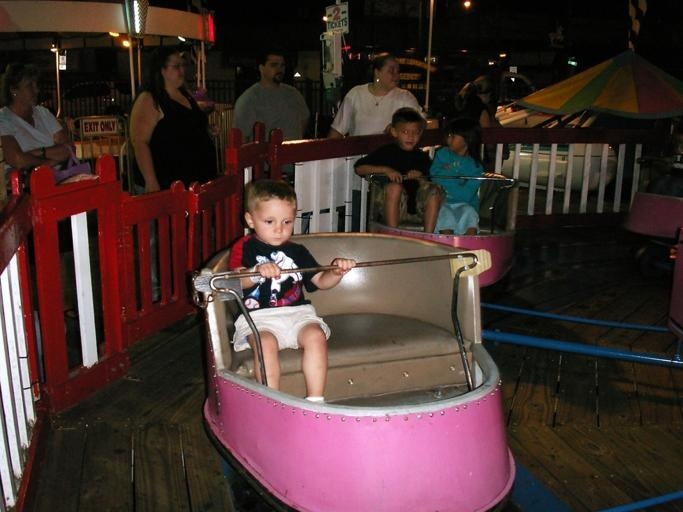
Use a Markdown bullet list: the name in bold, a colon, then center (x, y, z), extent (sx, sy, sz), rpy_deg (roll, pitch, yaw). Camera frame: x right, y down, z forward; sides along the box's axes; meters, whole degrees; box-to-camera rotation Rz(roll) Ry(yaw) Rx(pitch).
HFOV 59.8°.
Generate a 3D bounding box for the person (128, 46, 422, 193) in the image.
- **person**: center (-0.424, -1.232, 5.198), extent (1.503, 1.033, 2.638), rpy_deg (8, 18, 23)

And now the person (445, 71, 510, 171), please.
- **person**: center (1.726, -1.673, 7.744), extent (0.504, 1.625, 0.659), rpy_deg (-8, 54, 1)

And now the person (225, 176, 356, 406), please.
- **person**: center (-0.243, 0.164, 2.805), extent (0.554, 0.985, 0.643), rpy_deg (-3, 17, -11)
